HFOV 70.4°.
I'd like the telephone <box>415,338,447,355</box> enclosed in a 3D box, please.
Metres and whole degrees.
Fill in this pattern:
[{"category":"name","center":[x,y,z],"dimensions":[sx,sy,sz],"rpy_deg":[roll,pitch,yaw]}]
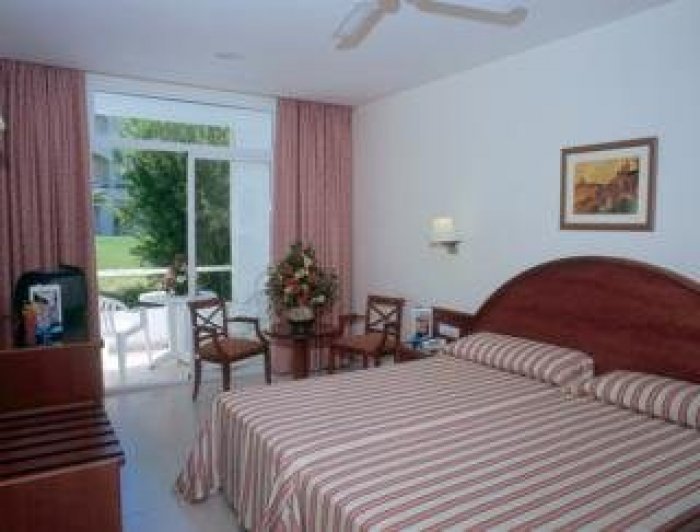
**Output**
[{"category":"telephone","center":[0.783,0.741,4.699],"dimensions":[0.200,0.056,0.144],"rpy_deg":[-5,6,-33]}]

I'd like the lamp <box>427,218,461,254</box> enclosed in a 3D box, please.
[{"category":"lamp","center":[0.908,-0.281,4.837],"dimensions":[0.351,0.351,0.357],"rpy_deg":[1,9,21]}]

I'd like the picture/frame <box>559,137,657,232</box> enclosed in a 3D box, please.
[{"category":"picture/frame","center":[1.938,-0.602,3.683],"dimensions":[0.030,0.726,0.776],"rpy_deg":[-1,3,-41]}]

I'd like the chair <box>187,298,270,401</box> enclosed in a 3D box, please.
[{"category":"chair","center":[-1.247,0.846,5.207],"dimensions":[0.790,0.925,0.805],"rpy_deg":[-2,7,-28]}]

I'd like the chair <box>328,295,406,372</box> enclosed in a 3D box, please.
[{"category":"chair","center":[0.214,0.803,5.449],"dimensions":[0.663,0.876,0.632],"rpy_deg":[4,4,39]}]

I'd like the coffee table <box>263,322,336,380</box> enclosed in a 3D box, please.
[{"category":"coffee table","center":[-0.535,0.813,5.452],"dimensions":[0.716,0.669,0.696],"rpy_deg":[-3,6,-28]}]

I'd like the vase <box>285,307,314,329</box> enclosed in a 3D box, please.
[{"category":"vase","center":[-0.557,0.548,5.332],"dimensions":[0.267,0.175,0.229],"rpy_deg":[3,-2,26]}]

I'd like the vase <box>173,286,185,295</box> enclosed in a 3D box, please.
[{"category":"vase","center":[-2.002,0.283,5.848],"dimensions":[0.111,0.076,0.101],"rpy_deg":[-2,-2,16]}]

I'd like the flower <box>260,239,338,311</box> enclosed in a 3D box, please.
[{"category":"flower","center":[-0.530,0.057,5.722],"dimensions":[0.852,0.874,0.840],"rpy_deg":[-1,3,-19]}]
